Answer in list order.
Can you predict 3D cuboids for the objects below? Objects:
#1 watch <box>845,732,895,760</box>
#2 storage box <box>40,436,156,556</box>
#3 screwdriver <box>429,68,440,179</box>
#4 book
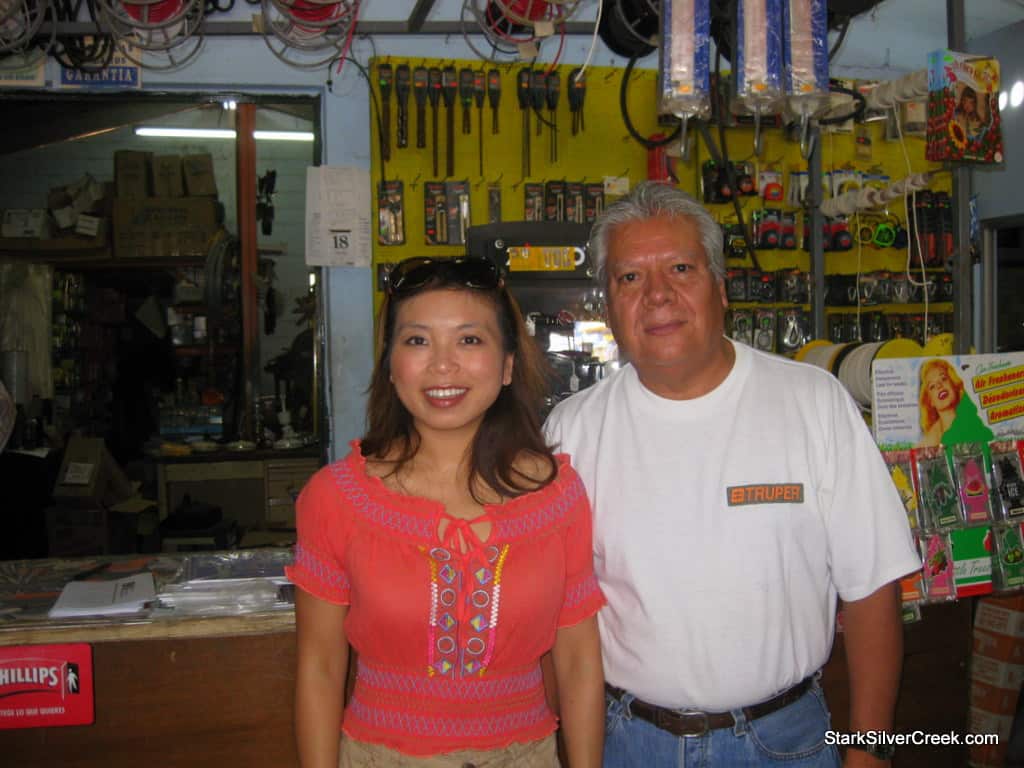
[{"bbox_3d":[1.127,1.122,3.028,0.103,0.069,0.095,-3,-14,8],"label":"watch"},{"bbox_3d":[-2.932,0.805,6.928,0.781,0.909,0.693,-1,0,-4],"label":"storage box"},{"bbox_3d":[-0.432,-1.501,5.568,0.068,0.583,0.198,-1,0,-5],"label":"screwdriver"},{"bbox_3d":[-1.240,0.762,3.577,0.566,0.151,0.441,0,1,-6],"label":"book"}]
